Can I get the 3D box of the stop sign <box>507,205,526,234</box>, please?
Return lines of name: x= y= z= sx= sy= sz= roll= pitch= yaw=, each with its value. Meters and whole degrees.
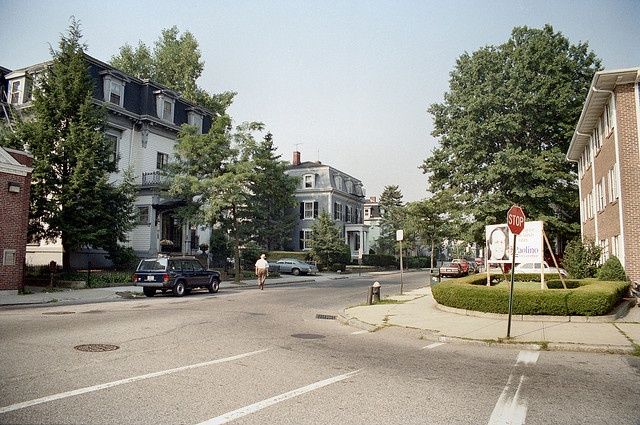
stop sign: x=6.362 y=0.258 z=15.942 sx=1.079 sy=0.952 sz=0.023 roll=9 pitch=-7 yaw=-38

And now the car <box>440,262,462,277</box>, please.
car: x=12.022 y=5.330 z=45.090 sx=1.597 sy=1.109 sz=3.030 roll=2 pitch=3 yaw=27

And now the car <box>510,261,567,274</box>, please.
car: x=12.616 y=3.223 z=28.484 sx=2.856 sy=0.963 sz=1.621 roll=-3 pitch=-3 yaw=13

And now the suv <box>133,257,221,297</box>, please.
suv: x=-7.699 y=3.388 z=26.431 sx=1.994 sy=1.555 sz=3.704 roll=-4 pitch=-5 yaw=32
